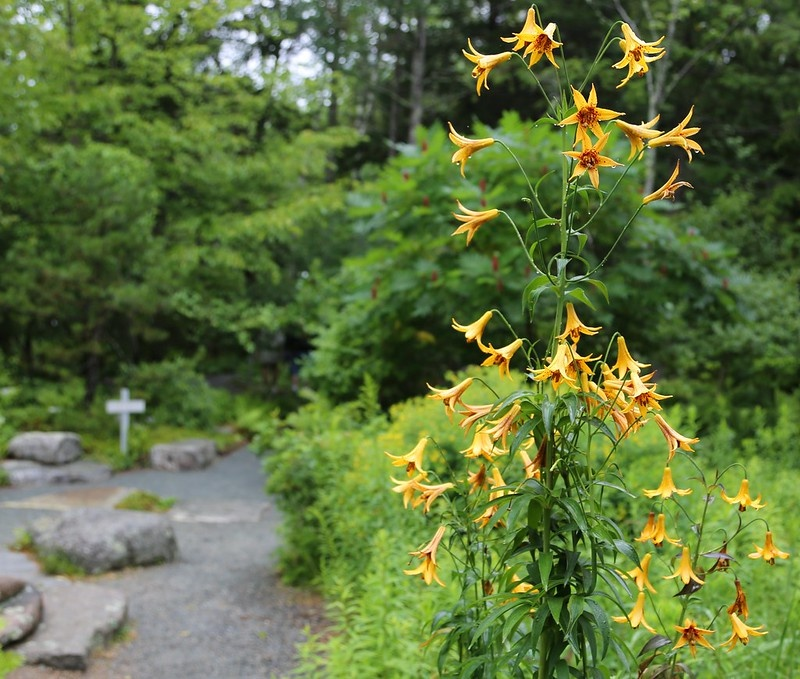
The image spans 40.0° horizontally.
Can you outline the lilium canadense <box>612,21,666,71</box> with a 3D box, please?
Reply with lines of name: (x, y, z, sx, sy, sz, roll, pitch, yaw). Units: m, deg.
lilium canadense: (1.118, -1.349, 5.182, 0.217, 0.256, 0.527, 4, 10, 10)
